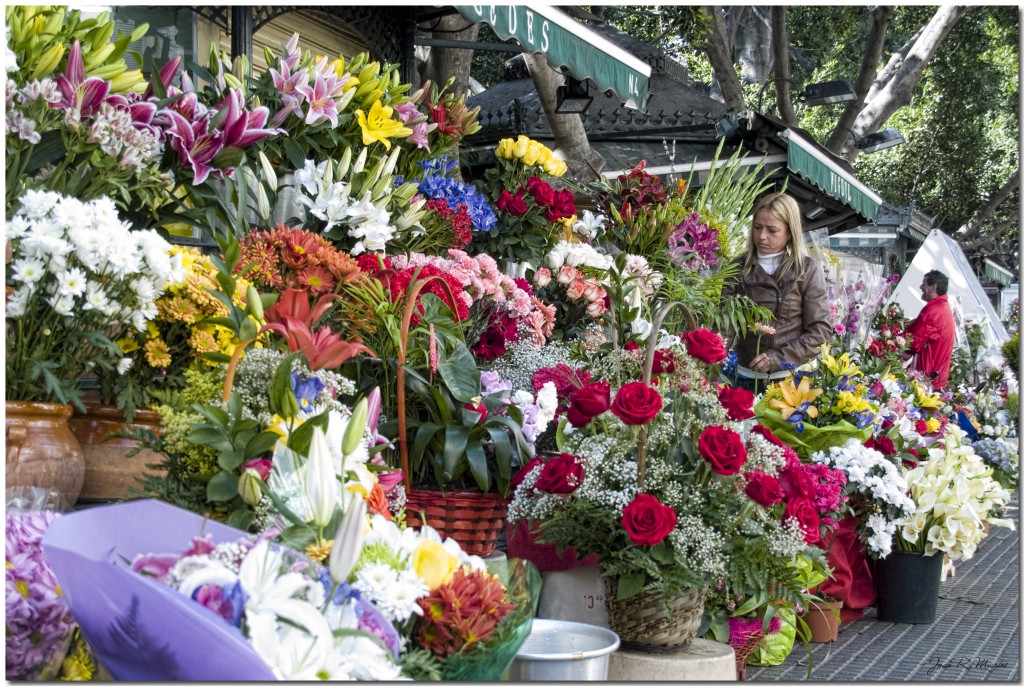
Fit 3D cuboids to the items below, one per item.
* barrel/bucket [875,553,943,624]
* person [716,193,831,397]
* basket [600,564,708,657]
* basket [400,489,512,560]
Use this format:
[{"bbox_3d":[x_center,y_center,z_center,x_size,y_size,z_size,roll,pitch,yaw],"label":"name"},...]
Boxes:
[{"bbox_3d":[2.043,1.268,4.863,0.311,0.308,0.353,0,-11,10],"label":"barrel/bucket"},{"bbox_3d":[1.546,0.021,5.588,0.633,1.803,0.666,-4,33,7],"label":"person"},{"bbox_3d":[0.470,0.874,3.039,0.279,0.197,0.259,2,-16,-7],"label":"basket"},{"bbox_3d":[-0.157,0.557,3.132,0.305,0.210,0.346,1,21,-17],"label":"basket"}]
